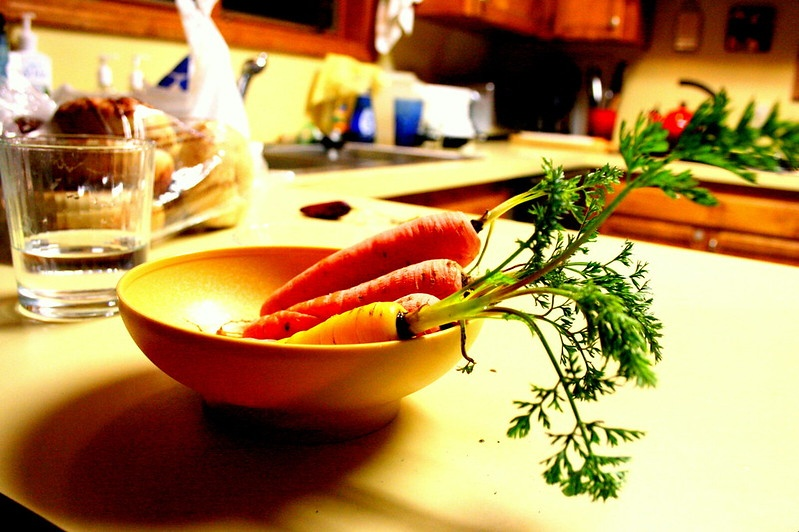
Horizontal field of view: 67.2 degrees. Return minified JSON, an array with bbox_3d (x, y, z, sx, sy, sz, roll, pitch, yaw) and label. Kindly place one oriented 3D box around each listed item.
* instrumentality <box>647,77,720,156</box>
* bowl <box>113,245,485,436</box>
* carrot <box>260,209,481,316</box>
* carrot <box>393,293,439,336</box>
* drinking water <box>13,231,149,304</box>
[{"bbox_3d":[0.958,-0.507,2.023,0.195,0.226,0.240,-6,1,-16],"label":"instrumentality"},{"bbox_3d":[-0.116,0.071,0.602,0.283,0.122,0.293,1,18,0],"label":"bowl"},{"bbox_3d":[-0.040,-0.004,0.706,0.280,0.078,0.070,-19,-29,6],"label":"carrot"},{"bbox_3d":[0.018,0.042,0.543,0.035,0.037,0.022,1,4,-14],"label":"carrot"},{"bbox_3d":[-0.415,0.013,0.782,0.152,0.067,0.146,9,-4,-22],"label":"drinking water"}]
